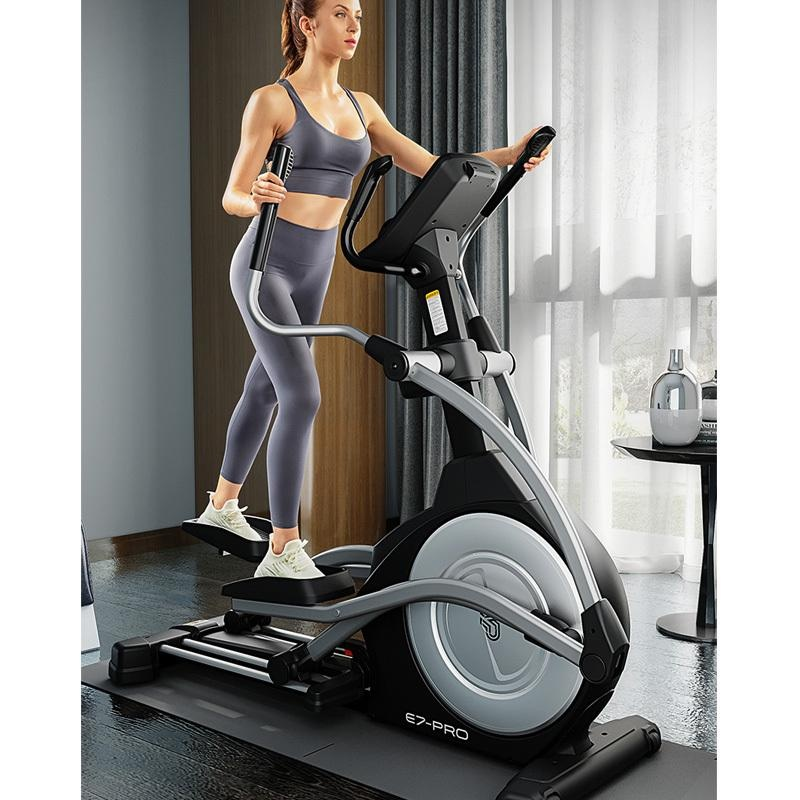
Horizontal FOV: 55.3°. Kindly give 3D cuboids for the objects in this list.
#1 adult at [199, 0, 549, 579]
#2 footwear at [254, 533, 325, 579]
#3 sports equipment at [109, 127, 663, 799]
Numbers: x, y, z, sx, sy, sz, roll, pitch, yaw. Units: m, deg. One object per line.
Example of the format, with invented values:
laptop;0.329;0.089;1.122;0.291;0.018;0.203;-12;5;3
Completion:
adult;-0.178;-0.537;3.460;1.627;2.484;1.302;2;4;34
footwear;-0.325;0.441;2.117;0.268;0.114;0.091;-8;-13;40
sports equipment;0.124;0.217;2.520;1.776;1.781;0.945;-2;-2;37
